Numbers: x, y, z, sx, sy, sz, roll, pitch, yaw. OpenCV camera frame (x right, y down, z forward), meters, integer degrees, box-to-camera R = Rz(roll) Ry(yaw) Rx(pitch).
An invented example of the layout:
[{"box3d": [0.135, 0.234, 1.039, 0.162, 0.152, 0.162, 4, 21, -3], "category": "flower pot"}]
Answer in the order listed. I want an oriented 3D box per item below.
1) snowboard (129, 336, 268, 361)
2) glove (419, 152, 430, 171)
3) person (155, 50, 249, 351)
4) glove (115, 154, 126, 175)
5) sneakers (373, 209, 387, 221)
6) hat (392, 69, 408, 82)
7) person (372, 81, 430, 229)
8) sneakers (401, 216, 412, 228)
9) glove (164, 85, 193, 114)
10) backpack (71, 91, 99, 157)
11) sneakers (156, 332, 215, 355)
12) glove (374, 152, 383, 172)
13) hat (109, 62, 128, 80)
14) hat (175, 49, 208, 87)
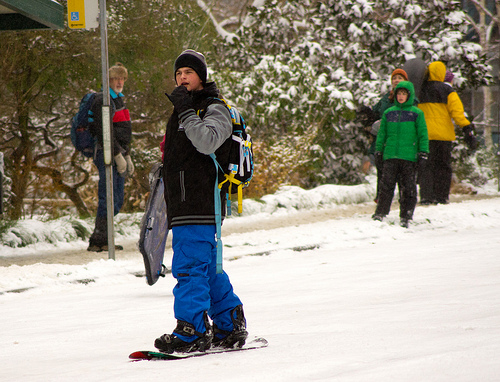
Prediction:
[{"box3d": [-0.522, 1.637, 9.026, 1.141, 0.092, 0.191, -1, -5, -21], "category": "snowboard"}, {"box3d": [2.683, -0.471, 13.420, 0.259, 0.274, 0.194, 1, 5, 9], "category": "glove"}, {"box3d": [-0.544, 0.080, 9.199, 0.872, 2.905, 0.442, -1, 0, -1], "category": "person"}, {"box3d": [-1.834, -0.382, 12.518, 0.115, 0.256, 0.183, -12, 11, 6], "category": "glove"}, {"box3d": [1.986, 0.376, 13.679, 0.213, 0.219, 0.141, 3, -33, 47], "category": "sneakers"}, {"box3d": [2.398, -1.865, 14.054, 0.187, 0.203, 0.257, -5, -33, 33], "category": "hat"}, {"box3d": [2.285, -0.564, 13.498, 0.840, 1.860, 0.396, -1, 0, 14], "category": "person"}, {"box3d": [2.338, 0.489, 13.340, 0.113, 0.142, 0.147, 27, -36, -6], "category": "sneakers"}, {"box3d": [-0.725, -0.957, 9.153, 0.288, 0.279, 0.234, -1, 0, -19], "category": "glove"}, {"box3d": [-2.398, -0.953, 12.651, 0.399, 0.894, 0.329, -1, 0, 3], "category": "backpack"}, {"box3d": [-0.708, 1.578, 9.155, 0.538, 0.260, 0.215, 5, -8, -6], "category": "sneakers"}, {"box3d": [2.013, -0.473, 13.851, 0.083, 0.227, 0.162, 1, 4, -7], "category": "glove"}, {"box3d": [-1.922, -1.747, 12.707, 0.206, 0.217, 0.256, 1, 4, -12], "category": "hat"}, {"box3d": [-0.620, -1.310, 9.369, 0.292, 0.324, 0.337, 1, -11, 7], "category": "hat"}]
